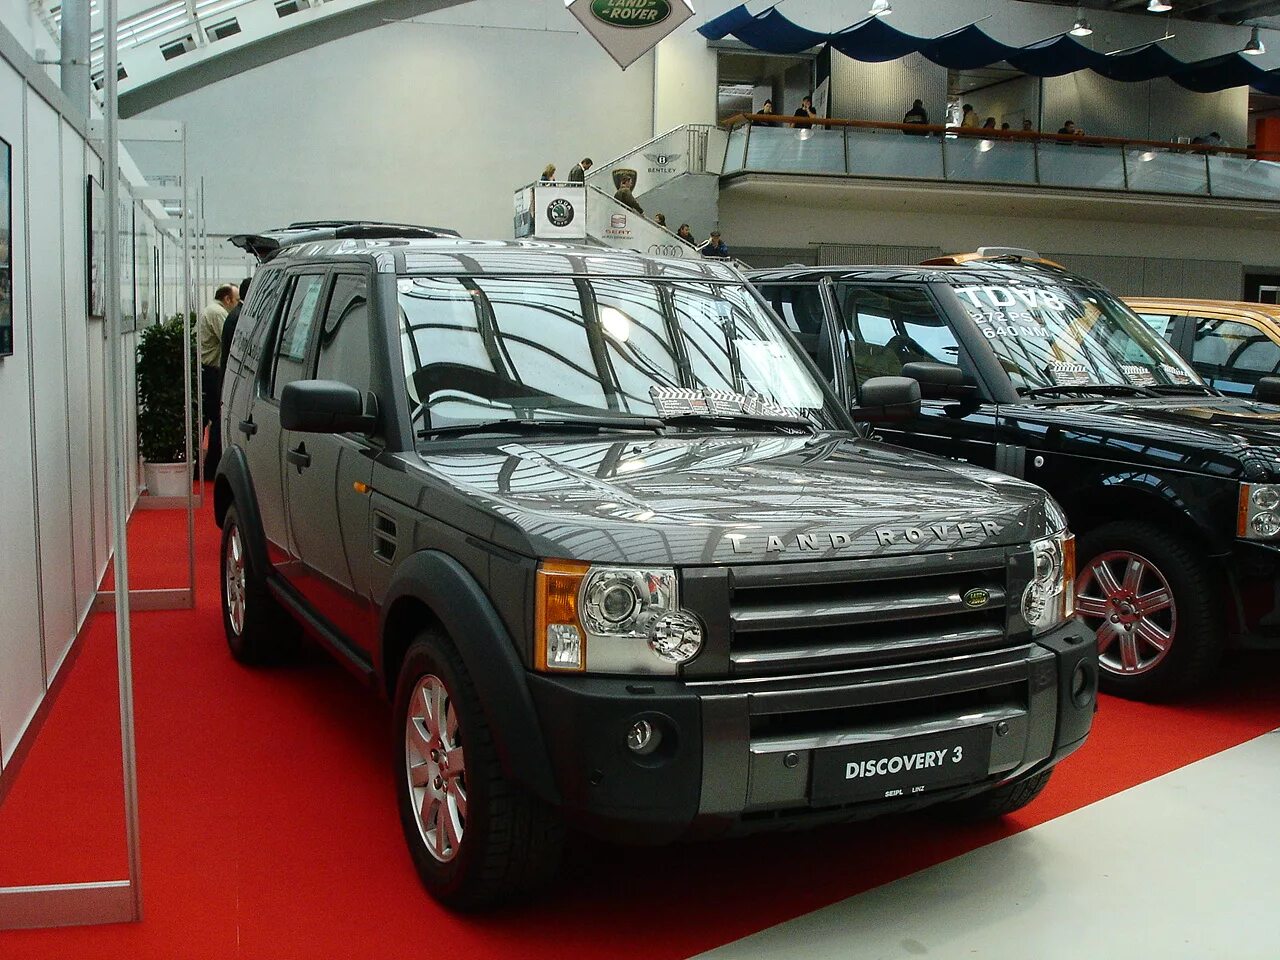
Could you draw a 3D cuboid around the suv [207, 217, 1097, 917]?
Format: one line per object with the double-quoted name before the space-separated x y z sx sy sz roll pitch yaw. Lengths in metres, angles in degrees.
"suv" -0.403 -0.039 4.103 2.362 1.792 4.256 -5 13 -34
